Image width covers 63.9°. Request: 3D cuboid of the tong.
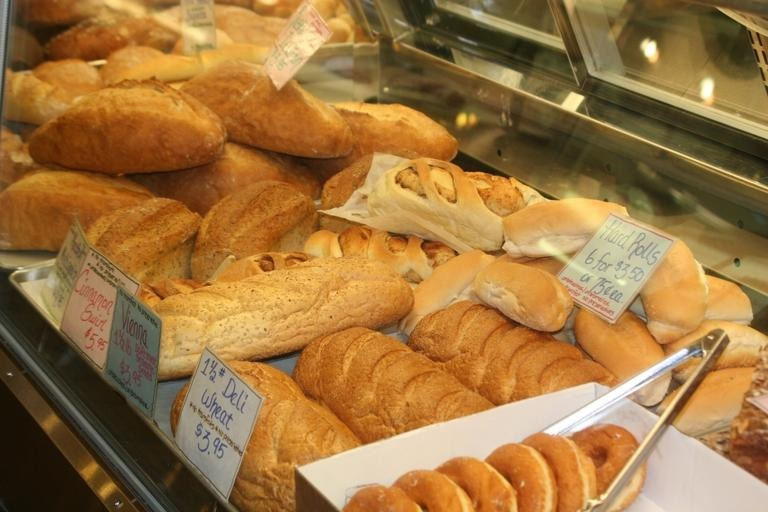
[{"bbox_3d":[0.576,0.376,1.367,0.492,0.055,0.234,-36,42,-15],"label":"tong"}]
